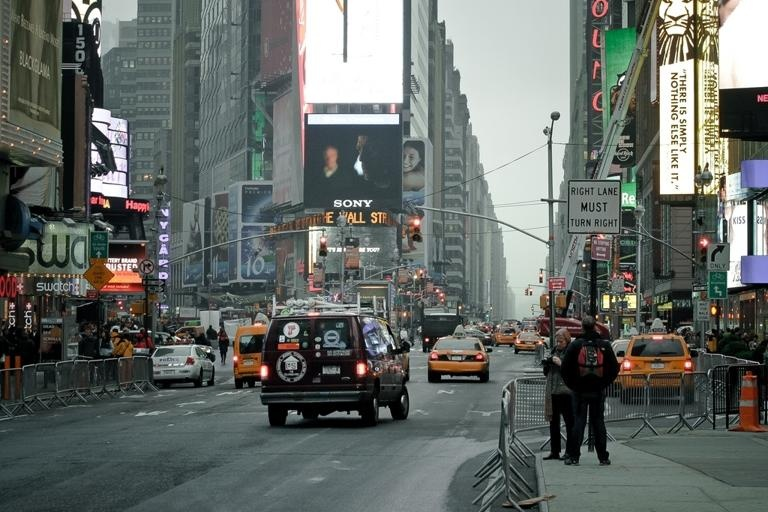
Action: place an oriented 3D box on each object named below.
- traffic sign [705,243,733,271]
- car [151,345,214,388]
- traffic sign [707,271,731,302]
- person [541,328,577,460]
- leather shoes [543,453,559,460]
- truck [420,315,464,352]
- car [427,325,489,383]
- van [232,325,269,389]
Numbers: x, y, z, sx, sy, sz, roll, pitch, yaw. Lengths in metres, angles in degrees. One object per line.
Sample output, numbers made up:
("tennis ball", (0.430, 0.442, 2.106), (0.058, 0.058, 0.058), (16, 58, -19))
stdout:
("traffic sign", (12.206, 0.060, 41.109), (0.738, 0.997, 0.987), (-3, -6, 11))
("car", (-8.205, 4.569, 47.311), (1.262, 0.969, 2.813), (0, -2, 7))
("traffic sign", (12.301, 1.035, 41.511), (0.662, 0.967, 0.529), (-2, -6, 6))
("person", (3.848, 3.092, 24.997), (0.939, 2.653, 0.907), (-1, -2, 27))
("leather shoes", (3.735, 4.491, 25.162), (0.341, 0.157, 0.121), (3, -5, 7))
("truck", (3.859, 5.117, 75.321), (3.376, 3.095, 5.825), (0, -1, 3))
("car", (3.135, 4.367, 47.261), (2.382, 1.957, 1.361), (-2, -6, 9))
("van", (-5.456, 4.198, 47.320), (2.195, 2.479, 3.922), (0, -1, 3))
